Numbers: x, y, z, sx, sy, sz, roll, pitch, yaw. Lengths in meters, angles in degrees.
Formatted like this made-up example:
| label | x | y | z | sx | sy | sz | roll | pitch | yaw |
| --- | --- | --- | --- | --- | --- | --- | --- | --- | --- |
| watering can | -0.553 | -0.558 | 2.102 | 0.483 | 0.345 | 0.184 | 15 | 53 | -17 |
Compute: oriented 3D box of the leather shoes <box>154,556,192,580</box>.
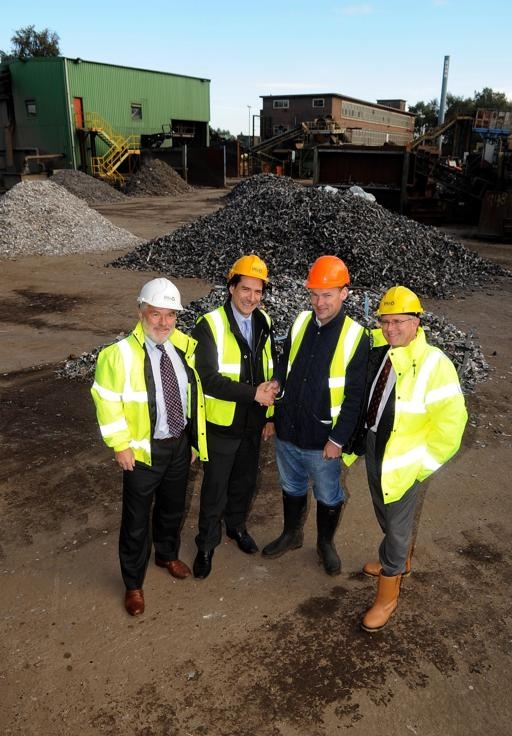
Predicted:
| label | x | y | z | sx | sy | sz | roll | pitch | yaw |
| --- | --- | --- | --- | --- | --- | --- | --- | --- | --- |
| leather shoes | -0.517 | 1.209 | 3.550 | 0.251 | 0.101 | 0.096 | 11 | 18 | 36 |

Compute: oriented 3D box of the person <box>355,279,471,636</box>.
| label | x | y | z | sx | sy | sz | roll | pitch | yaw |
| --- | --- | --- | --- | --- | --- | --- | --- | --- | --- |
| person | 0.746 | 0.478 | 2.995 | 0.351 | 1.775 | 0.571 | 1 | 20 | -9 |

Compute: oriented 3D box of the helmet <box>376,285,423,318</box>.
| label | x | y | z | sx | sy | sz | roll | pitch | yaw |
| --- | --- | --- | --- | --- | --- | --- | --- | --- | --- |
| helmet | 0.735 | -0.331 | 2.839 | 0.145 | 0.094 | 0.184 | 7 | 4 | 39 |

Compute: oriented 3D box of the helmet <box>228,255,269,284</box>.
| label | x | y | z | sx | sy | sz | roll | pitch | yaw |
| --- | --- | --- | --- | --- | --- | --- | --- | --- | --- |
| helmet | -0.038 | -0.574 | 3.279 | 0.216 | 0.154 | 0.306 | 4 | 19 | 0 |

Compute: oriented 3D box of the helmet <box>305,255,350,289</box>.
| label | x | y | z | sx | sy | sz | roll | pitch | yaw |
| --- | --- | --- | --- | --- | --- | --- | --- | --- | --- |
| helmet | 0.386 | -0.530 | 3.071 | 0.170 | 0.121 | 0.221 | 15 | 20 | 28 |

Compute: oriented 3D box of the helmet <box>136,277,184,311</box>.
| label | x | y | z | sx | sy | sz | roll | pitch | yaw |
| --- | --- | --- | --- | --- | --- | --- | --- | --- | --- |
| helmet | -0.501 | -0.379 | 2.981 | 0.203 | 0.165 | 0.281 | 0 | 20 | -11 |

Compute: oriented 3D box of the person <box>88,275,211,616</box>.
| label | x | y | z | sx | sy | sz | roll | pitch | yaw |
| --- | --- | --- | --- | --- | --- | --- | --- | --- | --- |
| person | -0.564 | 0.495 | 3.173 | 0.368 | 1.667 | 0.629 | 17 | 23 | 32 |

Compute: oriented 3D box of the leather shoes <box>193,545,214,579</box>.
| label | x | y | z | sx | sy | sz | roll | pitch | yaw |
| --- | --- | --- | --- | --- | --- | --- | --- | --- | --- |
| leather shoes | -0.320 | 1.179 | 3.504 | 0.077 | 0.090 | 0.230 | 3 | 22 | 3 |

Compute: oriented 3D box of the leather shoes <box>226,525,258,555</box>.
| label | x | y | z | sx | sy | sz | roll | pitch | yaw |
| --- | --- | --- | --- | --- | --- | --- | --- | --- | --- |
| leather shoes | -0.123 | 1.136 | 3.832 | 0.098 | 0.118 | 0.286 | -16 | 18 | -34 |

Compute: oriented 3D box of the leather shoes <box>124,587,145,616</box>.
| label | x | y | z | sx | sy | sz | roll | pitch | yaw |
| --- | --- | --- | --- | --- | --- | --- | --- | --- | --- |
| leather shoes | -0.665 | 1.279 | 3.142 | 0.078 | 0.062 | 0.157 | 1 | 11 | -10 |
